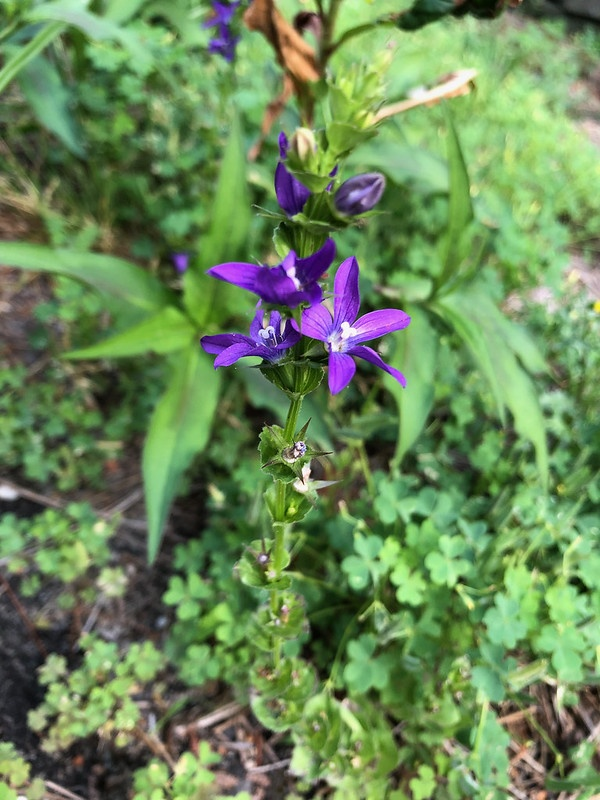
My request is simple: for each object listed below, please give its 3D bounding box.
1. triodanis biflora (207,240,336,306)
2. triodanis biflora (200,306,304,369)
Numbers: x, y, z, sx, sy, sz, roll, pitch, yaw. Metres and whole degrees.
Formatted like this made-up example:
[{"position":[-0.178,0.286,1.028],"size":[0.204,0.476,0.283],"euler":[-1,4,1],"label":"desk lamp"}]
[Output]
[{"position":[-0.014,-0.248,1.370],"size":[0.235,0.103,0.229],"euler":[-6,11,25],"label":"triodanis biflora"},{"position":[-0.088,-0.120,1.436],"size":[0.153,0.050,0.152],"euler":[1,24,46],"label":"triodanis biflora"}]
